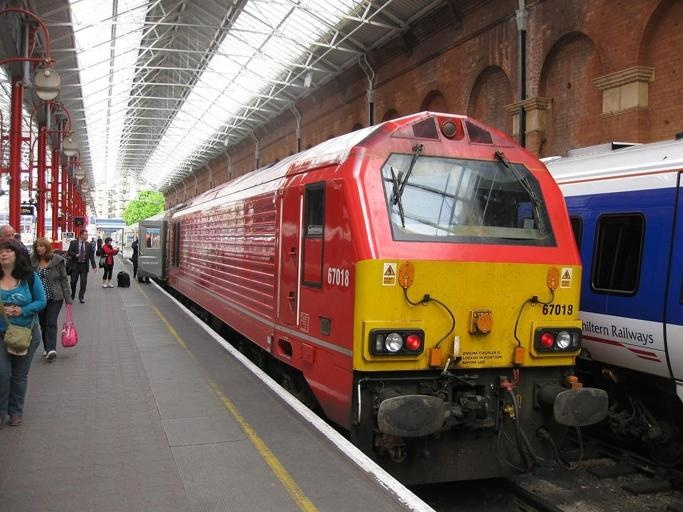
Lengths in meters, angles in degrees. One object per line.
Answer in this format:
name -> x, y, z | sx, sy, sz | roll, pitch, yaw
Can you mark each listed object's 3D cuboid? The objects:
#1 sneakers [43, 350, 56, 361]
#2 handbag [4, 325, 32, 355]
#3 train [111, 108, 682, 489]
sneakers -> -4.873, 1.661, 8.344 | 0.100, 0.147, 0.334 | 2, -17, -28
handbag -> -3.293, 0.860, 5.087 | 0.220, 0.325, 0.106 | 9, -4, -31
train -> -0.745, 0.341, 9.981 | 2.416, 3.839, 11.730 | 0, -1, -20
